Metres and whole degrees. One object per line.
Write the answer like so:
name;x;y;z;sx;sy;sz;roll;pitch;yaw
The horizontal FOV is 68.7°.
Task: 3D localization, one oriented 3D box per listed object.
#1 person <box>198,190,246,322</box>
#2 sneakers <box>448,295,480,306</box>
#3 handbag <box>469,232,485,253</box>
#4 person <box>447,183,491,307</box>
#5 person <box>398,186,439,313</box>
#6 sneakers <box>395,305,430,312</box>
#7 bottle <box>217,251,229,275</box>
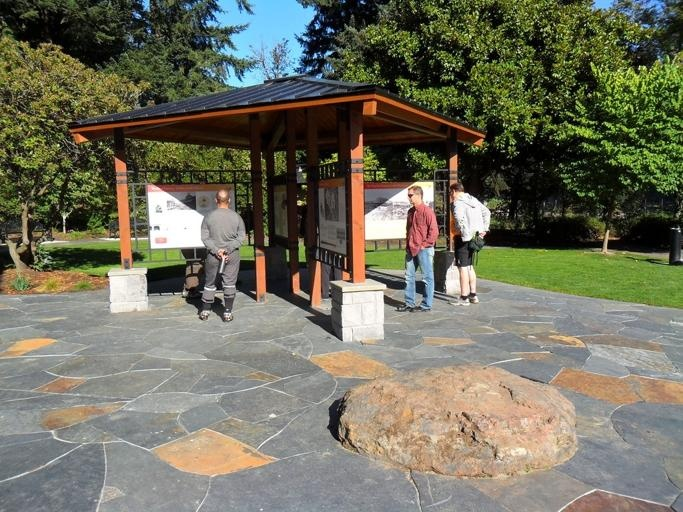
person;-2.139;-0.005;8.773;0.824;2.248;0.862;-3;10;-13
sneakers;2.409;0.880;9.728;0.374;0.121;0.260;0;-1;-1
handbag;2.586;-0.263;9.469;0.165;0.352;0.395;8;13;40
person;2.516;-0.244;9.913;0.729;2.371;1.327;3;10;16
person;1.409;-0.130;9.170;0.671;2.263;0.648;3;10;17
sneakers;1.317;0.969;9.247;0.562;0.200;0.195;3;0;-4
bottle;-2.046;0.109;8.577;0.105;0.361;0.165;9;13;42
